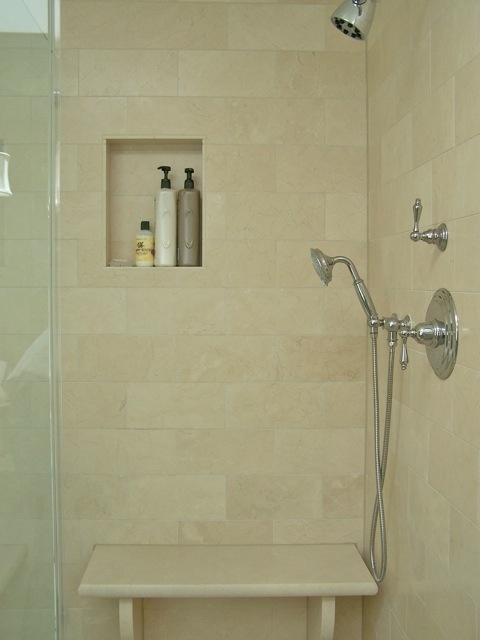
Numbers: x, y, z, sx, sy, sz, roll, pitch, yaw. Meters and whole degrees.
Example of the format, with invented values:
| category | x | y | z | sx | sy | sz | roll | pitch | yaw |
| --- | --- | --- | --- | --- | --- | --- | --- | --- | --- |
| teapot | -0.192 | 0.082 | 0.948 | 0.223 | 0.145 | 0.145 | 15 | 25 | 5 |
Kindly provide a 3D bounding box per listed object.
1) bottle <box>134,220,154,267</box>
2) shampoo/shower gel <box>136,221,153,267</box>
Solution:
| category | x | y | z | sx | sy | sz | roll | pitch | yaw |
| --- | --- | --- | --- | --- | --- | --- | --- | --- | --- |
| bottle | -0.272 | -0.211 | 2.318 | 0.058 | 0.069 | 0.154 | 6 | 69 | -24 |
| shampoo/shower gel | -0.273 | -0.207 | 2.321 | 0.044 | 0.056 | 0.166 | 3 | 64 | -11 |
